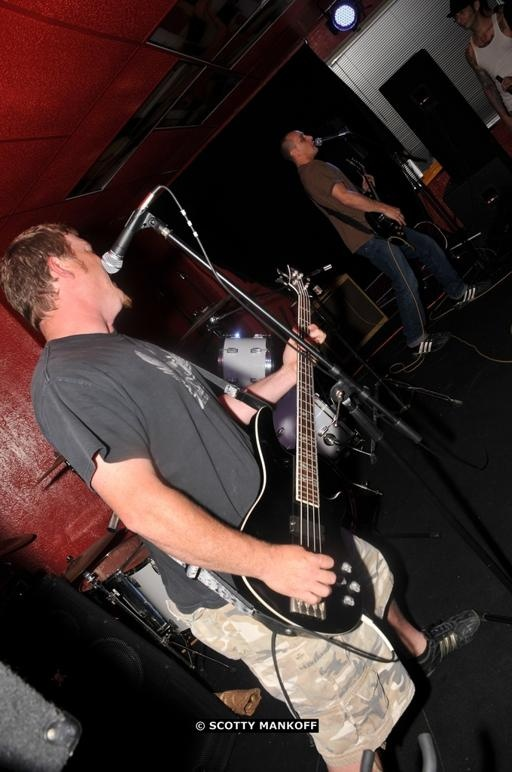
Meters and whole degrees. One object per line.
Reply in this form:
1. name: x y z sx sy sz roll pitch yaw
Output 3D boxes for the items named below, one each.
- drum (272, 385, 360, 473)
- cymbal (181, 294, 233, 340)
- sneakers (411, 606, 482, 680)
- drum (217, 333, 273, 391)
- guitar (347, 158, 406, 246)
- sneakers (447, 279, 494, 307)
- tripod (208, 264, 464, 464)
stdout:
1. drum: 0.374 0.293 4.106 0.469 0.260 0.157 -20 85 -26
2. cymbal: -0.447 -0.643 5.741 0.082 0.322 0.817 43 23 2
3. sneakers: 0.819 1.135 2.746 0.158 0.396 0.131 62 -12 -21
4. drum: -0.085 -0.184 4.898 0.435 0.488 0.525 2 10 6
5. guitar: 0.928 -1.581 5.082 0.460 0.308 0.759 35 -1 -7
6. sneakers: 1.714 -0.724 4.878 0.163 0.404 0.138 38 28 -64
7. tripod: 0.597 -0.143 3.935 2.803 0.376 0.387 34 19 -35
